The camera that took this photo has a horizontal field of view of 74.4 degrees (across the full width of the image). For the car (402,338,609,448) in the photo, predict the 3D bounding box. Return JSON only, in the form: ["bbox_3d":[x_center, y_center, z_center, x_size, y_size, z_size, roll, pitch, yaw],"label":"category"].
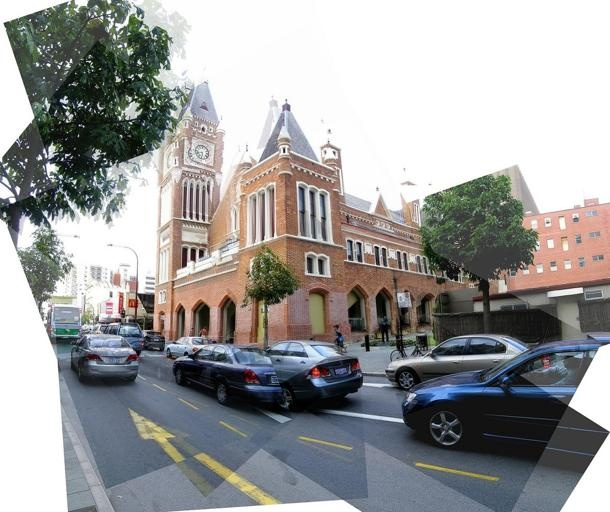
[{"bbox_3d":[2.696,2.054,6.028,2.789,0.997,1.309,-5,-12,26],"label":"car"}]
